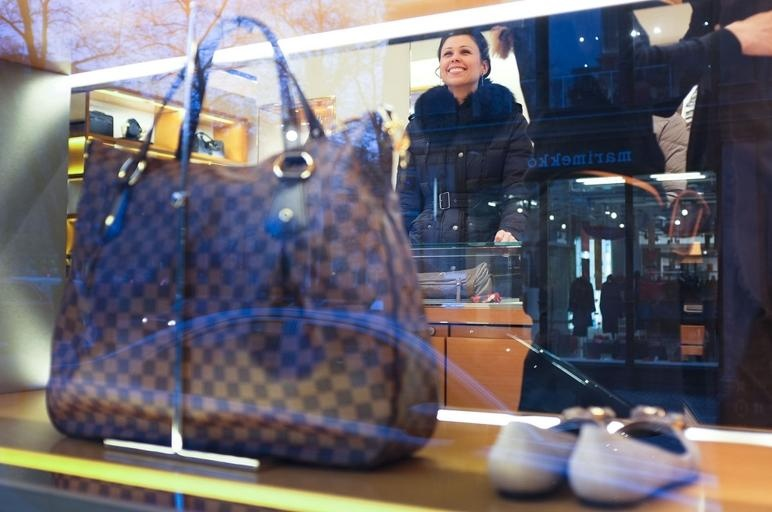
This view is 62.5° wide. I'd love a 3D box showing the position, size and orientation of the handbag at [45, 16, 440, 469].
[{"bbox_3d":[-0.124,-0.004,0.598,0.455,0.471,0.168,0,-2,16],"label":"handbag"}]
